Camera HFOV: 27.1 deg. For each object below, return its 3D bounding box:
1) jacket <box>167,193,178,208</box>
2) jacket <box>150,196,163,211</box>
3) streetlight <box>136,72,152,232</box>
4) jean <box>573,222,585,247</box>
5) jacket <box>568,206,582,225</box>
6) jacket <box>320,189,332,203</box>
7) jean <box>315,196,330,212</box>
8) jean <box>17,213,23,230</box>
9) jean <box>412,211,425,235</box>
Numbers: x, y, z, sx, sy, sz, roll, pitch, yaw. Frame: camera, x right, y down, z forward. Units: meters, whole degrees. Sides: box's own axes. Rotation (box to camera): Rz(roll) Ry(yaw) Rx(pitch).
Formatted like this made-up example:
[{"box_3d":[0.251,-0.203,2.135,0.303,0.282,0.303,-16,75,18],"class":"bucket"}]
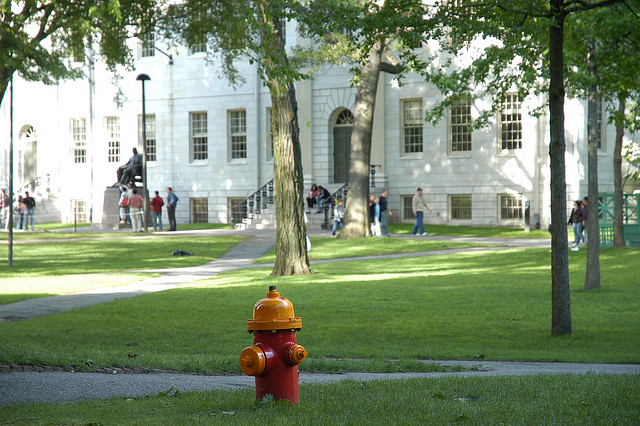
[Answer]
[{"box_3d":[-6.990,-0.610,62.660,0.455,0.745,0.924,1,1,17],"class":"jacket"},{"box_3d":[-7.618,-0.442,62.048,0.779,0.995,0.538,-1,7,-7],"class":"jacket"},{"box_3d":[-7.969,-3.329,60.915,0.772,6.221,0.772,-4,8,-20],"class":"streetlight"},{"box_3d":[10.250,0.816,52.573,0.401,0.786,0.969,-1,0,10],"class":"jean"},{"box_3d":[10.333,0.118,53.810,0.263,0.646,0.745,18,-19,-14],"class":"jacket"},{"box_3d":[0.370,-0.785,61.089,0.499,0.882,0.586,-4,-5,31],"class":"jacket"},{"box_3d":[-0.006,-0.394,60.521,0.441,0.644,0.264,5,-8,4],"class":"jean"},{"box_3d":[-14.726,0.398,65.334,0.261,0.785,0.974,-1,0,-12],"class":"jean"},{"box_3d":[4.206,0.429,56.941,0.457,0.855,0.714,-1,0,-4],"class":"jean"}]
